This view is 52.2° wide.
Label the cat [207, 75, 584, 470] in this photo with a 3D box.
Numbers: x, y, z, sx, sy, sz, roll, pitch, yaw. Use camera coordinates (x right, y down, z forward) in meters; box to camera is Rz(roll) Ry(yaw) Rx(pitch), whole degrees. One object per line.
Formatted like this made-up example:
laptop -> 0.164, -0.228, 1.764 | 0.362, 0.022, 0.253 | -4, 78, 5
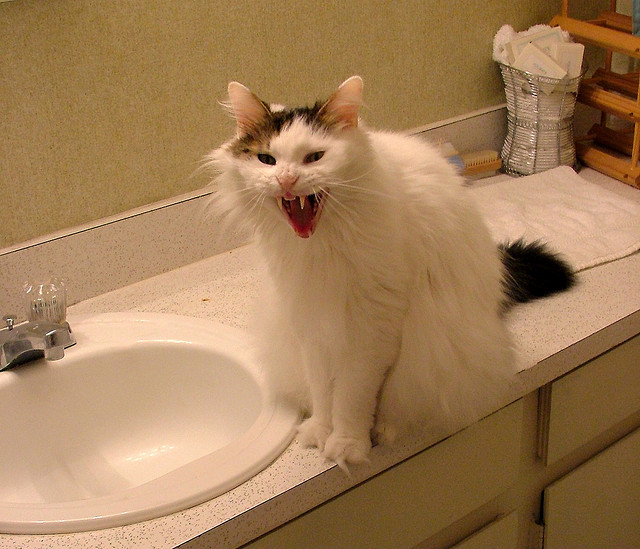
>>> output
cat -> 0.121, -0.051, 1.166 | 0.454, 0.632, 0.705 | 6, 21, 30
